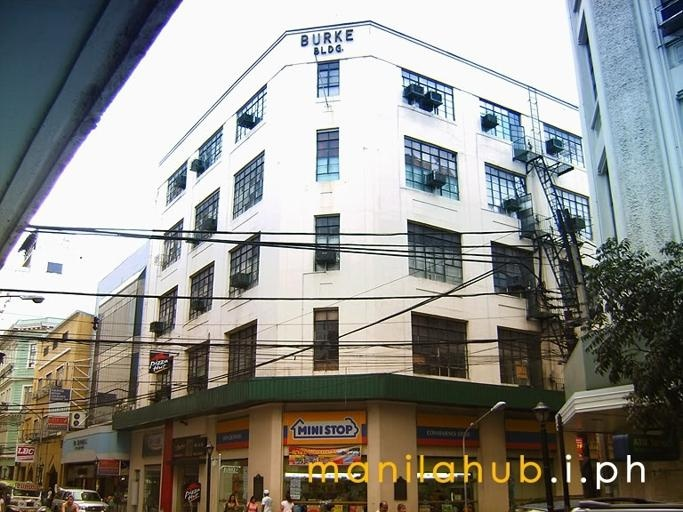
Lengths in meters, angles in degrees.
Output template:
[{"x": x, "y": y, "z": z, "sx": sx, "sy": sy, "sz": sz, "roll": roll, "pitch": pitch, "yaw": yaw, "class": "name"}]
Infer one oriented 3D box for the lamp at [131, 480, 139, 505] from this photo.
[{"x": -13.295, "y": 15.535, "z": 40.684, "sx": 0.323, "sy": 1.551, "sz": 1.024, "roll": 16, "pitch": -30, "yaw": -29, "class": "lamp"}]
